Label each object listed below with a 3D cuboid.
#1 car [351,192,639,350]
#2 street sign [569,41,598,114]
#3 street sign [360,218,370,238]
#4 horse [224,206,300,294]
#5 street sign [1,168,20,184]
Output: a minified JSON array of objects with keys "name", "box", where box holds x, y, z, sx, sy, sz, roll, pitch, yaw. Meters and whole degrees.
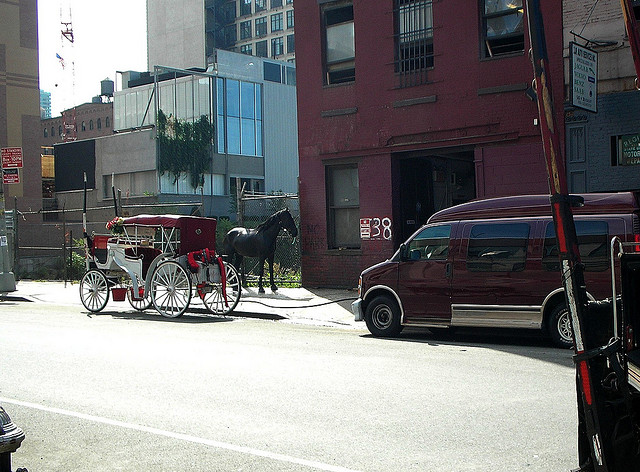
[{"name":"car","box":[3.421,0.610,14.158,5.481,3.101,2.274,-1,-3,34]},{"name":"street sign","box":[5.977,-3.630,16.291,0.119,1.891,1.453,-4,-9,40]},{"name":"street sign","box":[1.298,-0.257,21.220,0.101,0.575,0.390,-3,3,-40]},{"name":"horse","box":[-1.920,0.466,22.008,1.767,2.596,2.796,-2,2,-21]},{"name":"street sign","box":[-11.421,-2.278,26.394,0.495,0.526,1.133,-1,2,-12]}]
